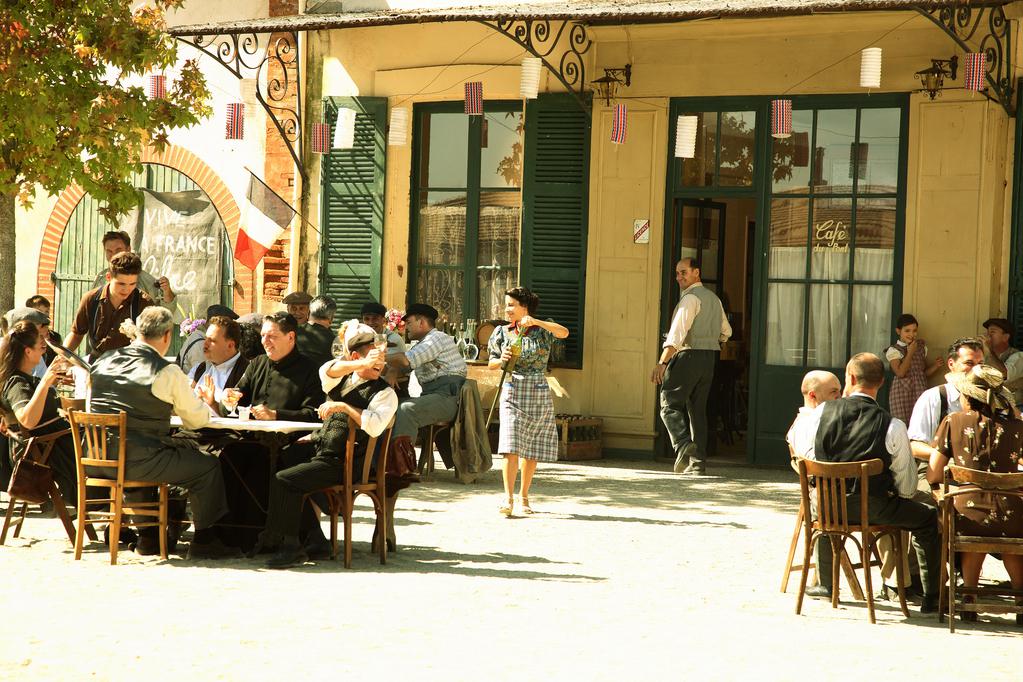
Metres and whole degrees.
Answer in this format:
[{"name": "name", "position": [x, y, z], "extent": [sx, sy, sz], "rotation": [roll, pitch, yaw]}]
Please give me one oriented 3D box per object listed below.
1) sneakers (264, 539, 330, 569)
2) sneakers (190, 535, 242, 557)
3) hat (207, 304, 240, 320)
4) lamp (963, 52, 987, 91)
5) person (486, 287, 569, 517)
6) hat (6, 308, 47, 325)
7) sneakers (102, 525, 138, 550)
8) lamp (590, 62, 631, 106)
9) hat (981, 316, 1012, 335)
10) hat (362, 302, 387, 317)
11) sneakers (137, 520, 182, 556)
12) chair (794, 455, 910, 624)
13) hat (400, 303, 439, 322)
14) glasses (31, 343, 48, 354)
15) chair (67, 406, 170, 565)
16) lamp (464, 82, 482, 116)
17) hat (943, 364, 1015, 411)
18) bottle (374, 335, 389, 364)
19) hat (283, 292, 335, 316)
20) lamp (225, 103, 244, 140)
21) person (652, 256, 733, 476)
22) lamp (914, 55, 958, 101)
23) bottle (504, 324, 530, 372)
[{"name": "sneakers", "position": [-1.850, 1.899, 13.061], "extent": [0.539, 0.217, 0.193], "rotation": [1, -9, -31]}, {"name": "sneakers", "position": [-2.623, 1.839, 13.206], "extent": [0.481, 0.224, 0.178], "rotation": [1, -3, -6]}, {"name": "hat", "position": [-2.947, -0.299, 15.134], "extent": [0.373, 0.136, 0.285], "rotation": [0, -1, 37]}, {"name": "lamp", "position": [5.036, -2.937, 15.959], "extent": [0.186, 0.398, 0.289], "rotation": [8, 12, 33]}, {"name": "person", "position": [0.154, 0.626, 14.907], "extent": [0.766, 2.241, 0.833], "rotation": [1, 10, -1]}, {"name": "hat", "position": [-5.006, -0.270, 15.291], "extent": [0.299, 0.160, 0.409], "rotation": [1, 1, 44]}, {"name": "sneakers", "position": [-3.485, 1.787, 13.265], "extent": [0.254, 0.253, 0.102], "rotation": [-3, -20, 13]}, {"name": "lamp", "position": [1.257, -3.189, 18.128], "extent": [0.465, 0.471, 0.197], "rotation": [-2, 33, 11]}, {"name": "hat", "position": [5.383, -0.178, 16.400], "extent": [0.166, 0.069, 0.234], "rotation": [16, -6, -40]}, {"name": "hat", "position": [-1.592, -0.366, 17.116], "extent": [0.207, 0.121, 0.206], "rotation": [1, 3, -10]}, {"name": "sneakers", "position": [-3.166, 1.775, 13.180], "extent": [0.164, 0.219, 0.489], "rotation": [-6, -12, 32]}, {"name": "chair", "position": [2.810, 1.567, 12.107], "extent": [0.953, 1.289, 0.706], "rotation": [3, 10, 11]}, {"name": "hat", "position": [-0.985, -0.335, 16.278], "extent": [0.275, 0.132, 0.220], "rotation": [3, -8, -3]}, {"name": "glasses", "position": [-4.419, 0.065, 13.824], "extent": [0.120, 0.117, 0.124], "rotation": [1, -1, 1]}, {"name": "chair", "position": [-3.542, 1.221, 13.105], "extent": [1.138, 1.331, 0.838], "rotation": [11, 13, 42]}, {"name": "lamp", "position": [-0.441, -2.894, 17.483], "extent": [0.171, 0.344, 0.212], "rotation": [3, 10, 7]}, {"name": "hat", "position": [3.838, 0.365, 12.126], "extent": [0.365, 0.336, 0.565], "rotation": [-3, 11, -26]}, {"name": "bottle", "position": [-1.153, 0.087, 12.997], "extent": [0.087, 0.255, 0.251], "rotation": [-1, 10, -11]}, {"name": "hat", "position": [-2.196, -0.399, 15.956], "extent": [0.380, 0.182, 0.460], "rotation": [2, -3, -10]}, {"name": "lamp", "position": [-3.421, -2.750, 18.344], "extent": [0.220, 0.414, 0.124], "rotation": [1, 10, -2]}, {"name": "person", "position": [2.082, 0.269, 17.374], "extent": [0.685, 2.460, 0.773], "rotation": [6, 11, 23]}, {"name": "lamp", "position": [4.888, -3.033, 16.931], "extent": [0.470, 0.491, 0.304], "rotation": [4, 10, 17]}, {"name": "bottle", "position": [0.055, 0.071, 14.909], "extent": [0.211, 0.434, 0.310], "rotation": [2, 10, 4]}]
